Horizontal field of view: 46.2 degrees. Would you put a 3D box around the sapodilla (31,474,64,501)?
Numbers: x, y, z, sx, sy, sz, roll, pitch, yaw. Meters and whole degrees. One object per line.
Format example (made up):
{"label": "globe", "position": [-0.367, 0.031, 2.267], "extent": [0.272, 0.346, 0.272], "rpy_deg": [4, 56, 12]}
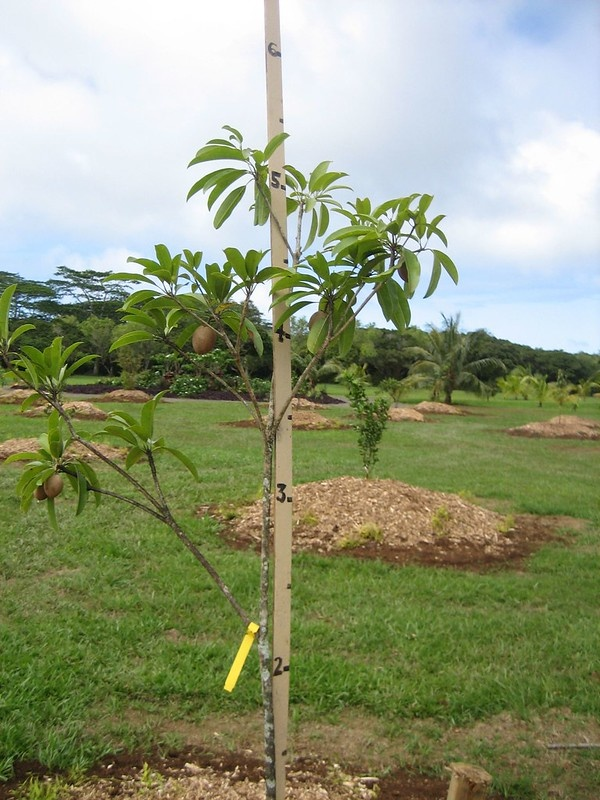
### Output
{"label": "sapodilla", "position": [-1.063, 0.372, 3.004], "extent": [0.107, 0.089, 0.157], "rpy_deg": [2, 21, -1]}
